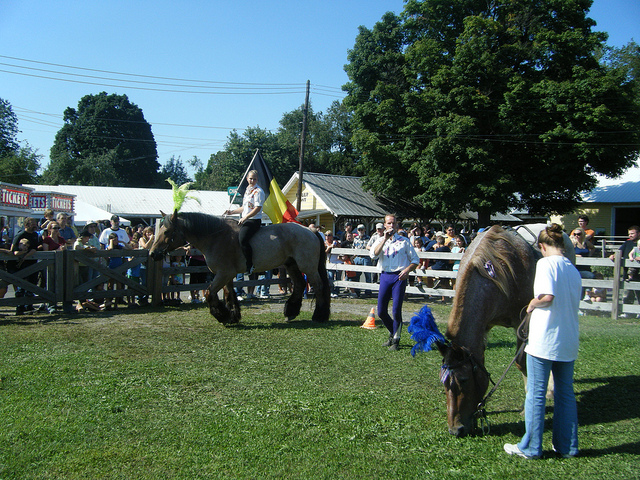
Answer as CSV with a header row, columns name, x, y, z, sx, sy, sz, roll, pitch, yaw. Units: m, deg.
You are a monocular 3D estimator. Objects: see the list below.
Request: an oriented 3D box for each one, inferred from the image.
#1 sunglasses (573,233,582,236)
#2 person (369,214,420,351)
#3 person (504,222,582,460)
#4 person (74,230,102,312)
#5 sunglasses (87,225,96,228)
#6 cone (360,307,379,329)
name,x,y,z,sx,sy,sz,roll,pitch,yaw
sunglasses,6.485,-0.139,15.949,0.109,0.063,0.225,1,0,-25
person,1.420,0.786,12.074,0.565,2.552,0.886,1,0,-36
person,3.093,1.357,8.553,0.834,3.164,0.371,1,0,9
person,-5.466,0.706,14.899,0.573,1.896,1.270,1,0,-20
sunglasses,-5.527,-0.333,15.429,0.077,0.062,0.217,1,0,24
cone,1.065,1.706,13.662,0.383,0.437,0.349,1,0,-4
